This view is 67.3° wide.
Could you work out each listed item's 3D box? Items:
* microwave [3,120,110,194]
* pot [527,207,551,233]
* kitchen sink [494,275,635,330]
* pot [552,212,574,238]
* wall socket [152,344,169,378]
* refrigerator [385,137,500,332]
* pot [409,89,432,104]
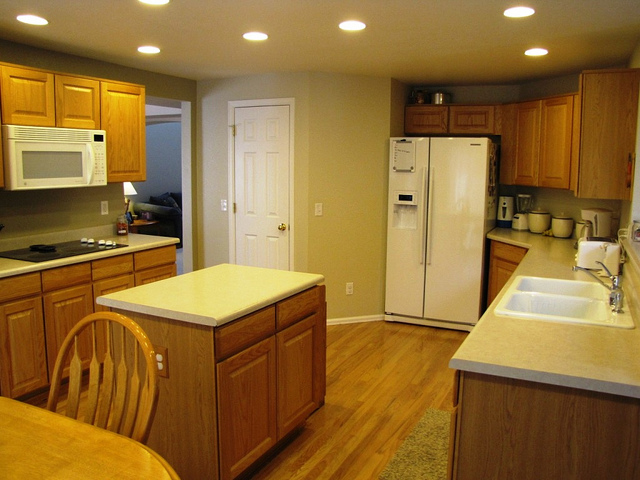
[{"bbox_3d":[-2.178,-0.681,3.875,0.488,0.532,0.824,9,12,29],"label":"microwave"},{"bbox_3d":[2.307,-0.199,5.128,0.179,0.254,0.246,0,1,1],"label":"pot"},{"bbox_3d":[1.445,0.388,2.881,0.737,0.152,0.879,6,13,21],"label":"kitchen sink"},{"bbox_3d":[2.493,-0.162,4.966,0.206,0.294,0.214,1,0,0],"label":"pot"},{"bbox_3d":[-0.888,0.669,2.673,0.108,0.156,0.022,0,6,33],"label":"wall socket"},{"bbox_3d":[1.217,-0.050,5.049,1.007,2.005,0.405,2,11,3],"label":"refrigerator"},{"bbox_3d":[1.162,-1.656,5.572,0.241,0.172,0.148,-3,13,-3],"label":"pot"}]
